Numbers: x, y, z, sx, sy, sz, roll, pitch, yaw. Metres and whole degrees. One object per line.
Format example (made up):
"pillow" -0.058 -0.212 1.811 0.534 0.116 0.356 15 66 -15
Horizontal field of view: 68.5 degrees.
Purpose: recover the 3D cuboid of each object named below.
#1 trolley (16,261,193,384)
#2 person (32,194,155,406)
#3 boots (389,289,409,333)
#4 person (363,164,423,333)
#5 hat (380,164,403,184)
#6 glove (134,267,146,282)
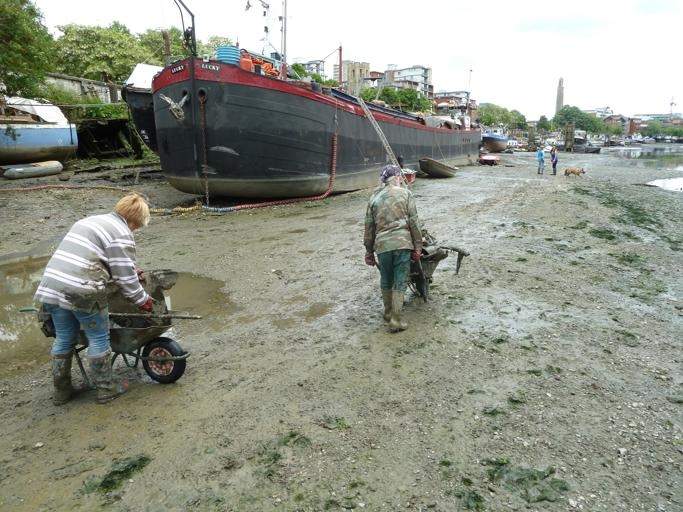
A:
"trolley" -2.338 0.800 4.871 1.651 0.638 0.652 2 5 2
"person" -2.212 0.409 4.578 1.099 1.871 0.466 -9 19 -19
"boots" 0.666 0.621 5.935 0.210 0.471 0.369 -2 16 7
"person" 0.629 -0.105 5.993 0.630 1.869 0.916 -7 17 -9
"hat" 0.568 -1.000 6.208 0.251 0.226 0.289 22 37 40
"glove" -2.055 0.198 5.145 0.101 0.146 0.041 -21 39 25
